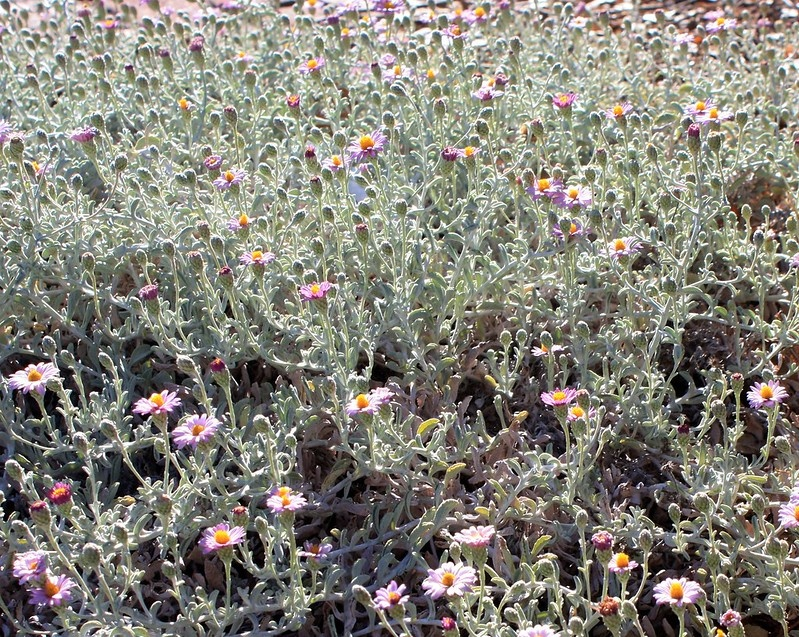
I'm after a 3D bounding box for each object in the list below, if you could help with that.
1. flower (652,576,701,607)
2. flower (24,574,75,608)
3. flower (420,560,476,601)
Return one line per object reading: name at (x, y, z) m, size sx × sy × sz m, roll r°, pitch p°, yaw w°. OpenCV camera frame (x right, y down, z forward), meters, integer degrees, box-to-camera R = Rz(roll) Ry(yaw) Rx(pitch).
flower at (0.780, 0.756, 2.758) m, size 0.095 × 0.052 × 0.100 m, roll -30°, pitch 32°, yaw -6°
flower at (-0.993, 0.805, 2.779) m, size 0.112 × 0.045 × 0.121 m, roll -13°, pitch 42°, yaw -21°
flower at (0.143, 0.744, 2.737) m, size 0.101 × 0.027 × 0.116 m, roll -14°, pitch 11°, yaw 8°
